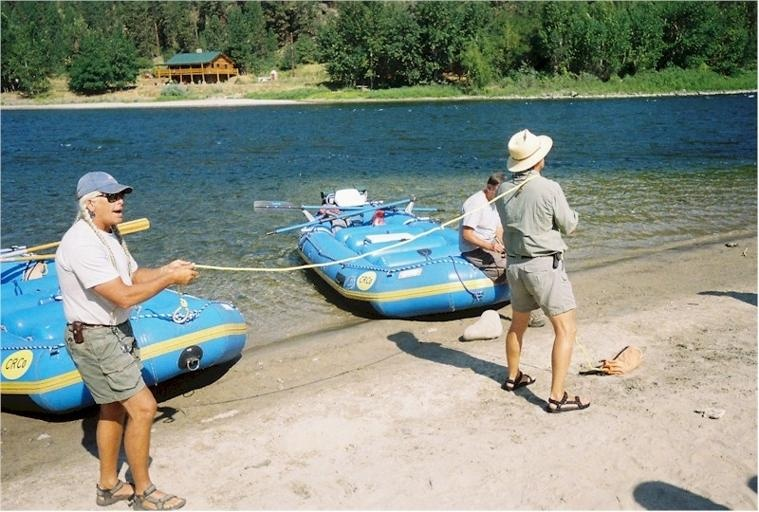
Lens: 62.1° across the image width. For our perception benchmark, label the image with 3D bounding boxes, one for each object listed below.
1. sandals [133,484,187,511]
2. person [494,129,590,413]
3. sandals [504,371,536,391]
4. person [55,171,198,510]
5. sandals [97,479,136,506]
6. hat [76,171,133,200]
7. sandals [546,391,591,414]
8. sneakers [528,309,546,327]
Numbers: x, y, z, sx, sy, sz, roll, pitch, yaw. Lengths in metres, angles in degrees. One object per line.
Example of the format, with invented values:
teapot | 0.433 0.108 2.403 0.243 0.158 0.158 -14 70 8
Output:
sandals | -2.163 2.391 6.242 0.506 0.163 0.219 0 6 -2
person | 1.779 0.165 7.104 0.836 3.073 1.198 -7 20 -5
sandals | 1.666 1.494 7.605 0.418 0.149 0.166 -14 21 -26
person | -2.471 0.839 6.165 1.194 3.225 1.287 -10 21 -14
sandals | -2.611 2.369 6.305 0.422 0.148 0.197 -4 12 -24
hat | -2.684 -0.686 6.137 0.524 0.204 0.302 -1 7 -10
sandals | 2.143 1.648 7.181 0.474 0.165 0.219 -5 11 -9
sneakers | 2.179 0.867 8.736 0.282 0.098 0.418 1 36 13
